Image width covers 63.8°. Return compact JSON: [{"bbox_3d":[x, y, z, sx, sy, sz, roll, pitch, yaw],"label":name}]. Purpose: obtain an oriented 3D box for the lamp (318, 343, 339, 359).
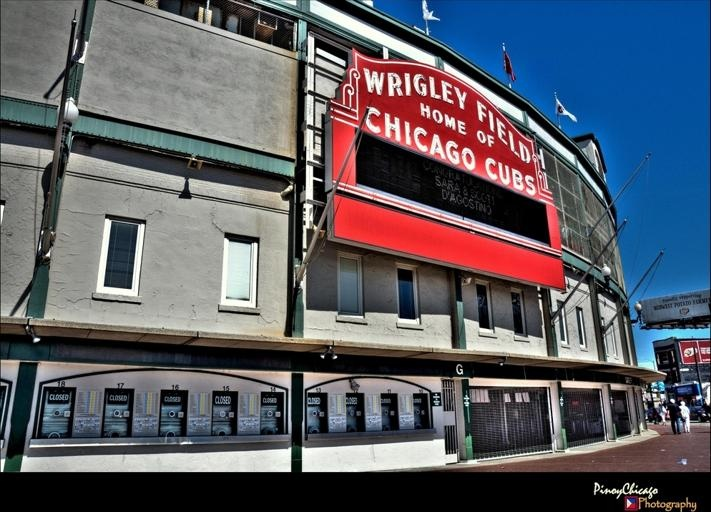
[{"bbox_3d":[-0.867,3.120,18.216,0.588,0.364,1.342,0,-14,-3],"label":"lamp"}]
